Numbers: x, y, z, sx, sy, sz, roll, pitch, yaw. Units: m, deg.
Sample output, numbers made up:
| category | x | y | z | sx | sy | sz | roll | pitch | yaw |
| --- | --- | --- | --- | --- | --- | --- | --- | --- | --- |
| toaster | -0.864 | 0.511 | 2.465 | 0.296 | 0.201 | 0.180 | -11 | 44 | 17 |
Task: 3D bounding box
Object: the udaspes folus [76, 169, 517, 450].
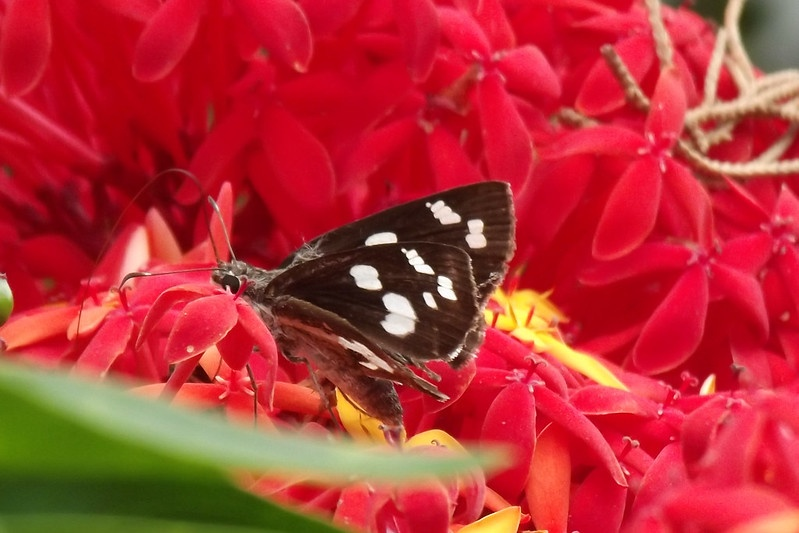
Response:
| category | x | y | z | sx | sy | sz | roll | pitch | yaw |
| --- | --- | --- | --- | --- | --- | --- | --- | --- | --- |
| udaspes folus | -0.046 | 0.014 | 0.536 | 0.286 | 0.170 | 0.185 | -27 | 111 | -36 |
